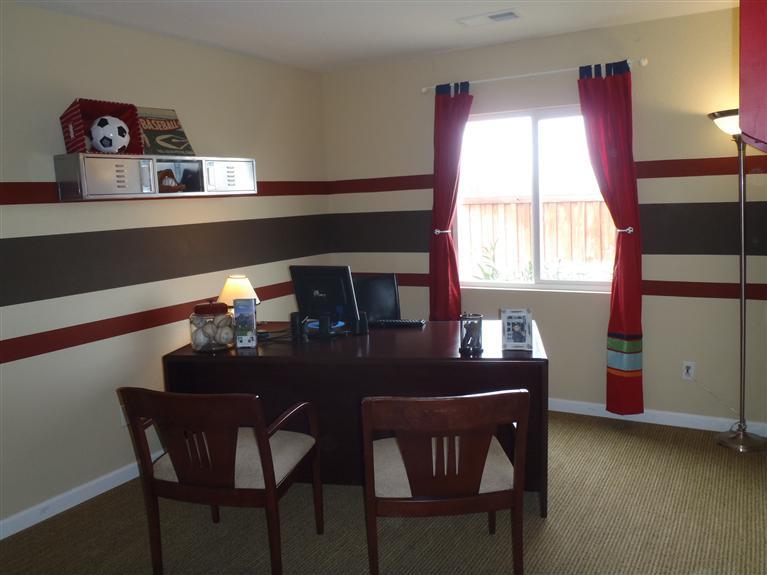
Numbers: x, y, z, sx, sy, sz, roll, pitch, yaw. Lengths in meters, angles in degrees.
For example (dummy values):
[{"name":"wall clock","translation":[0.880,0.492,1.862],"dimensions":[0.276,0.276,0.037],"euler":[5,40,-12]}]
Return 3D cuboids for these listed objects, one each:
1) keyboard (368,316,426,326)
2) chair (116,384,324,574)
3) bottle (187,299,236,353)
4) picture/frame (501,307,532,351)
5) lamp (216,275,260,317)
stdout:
[{"name":"keyboard","translation":[0.086,0.255,4.285],"dimensions":[0.394,0.108,0.078],"euler":[-1,-14,5]},{"name":"chair","translation":[-0.862,1.002,3.222],"dimensions":[0.820,1.172,0.706],"euler":[2,14,15]},{"name":"bottle","translation":[-1.132,0.253,3.777],"dimensions":[0.256,0.344,0.281],"euler":[1,2,0]},{"name":"picture/frame","translation":[0.821,0.262,3.573],"dimensions":[0.203,0.340,0.226],"euler":[-1,-1,6]},{"name":"lamp","translation":[-1.141,0.039,4.499],"dimensions":[0.300,0.286,0.324],"euler":[0,9,-3]}]
